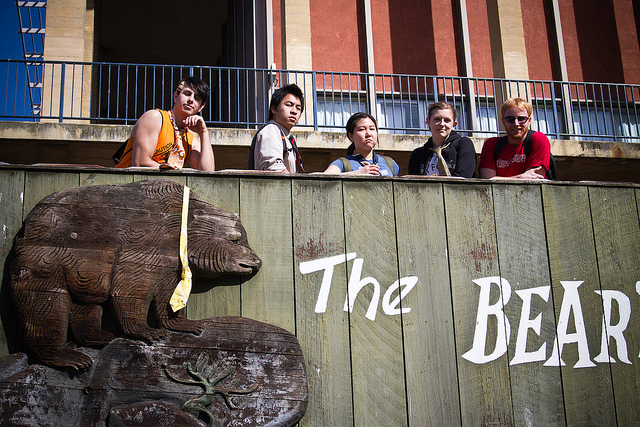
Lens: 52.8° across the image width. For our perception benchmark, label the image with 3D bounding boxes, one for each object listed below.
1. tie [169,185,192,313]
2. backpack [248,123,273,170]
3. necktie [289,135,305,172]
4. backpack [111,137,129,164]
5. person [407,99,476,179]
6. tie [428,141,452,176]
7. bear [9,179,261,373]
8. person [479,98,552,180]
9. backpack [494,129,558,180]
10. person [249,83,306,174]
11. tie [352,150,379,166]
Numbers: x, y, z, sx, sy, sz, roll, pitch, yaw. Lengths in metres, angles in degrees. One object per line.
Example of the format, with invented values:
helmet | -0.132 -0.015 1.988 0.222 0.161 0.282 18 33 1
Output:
tie | -0.957 0.249 4.543 0.127 0.865 0.270 0 1 4
backpack | -0.541 -0.562 5.766 0.223 0.465 0.309 4 3 -7
necktie | -0.207 -0.527 5.727 0.053 0.220 0.229 -24 40 -1
backpack | -1.774 -0.529 5.736 0.072 0.201 0.149 32 19 -7
person | 1.126 -0.539 6.167 0.634 1.008 0.492 -5 -15 35
tie | 1.102 -0.481 5.904 0.167 0.267 0.075 -23 -42 32
bear | -1.255 0.407 5.069 1.801 1.452 0.899 -1 -2 -10
person | 1.837 -0.621 6.068 0.596 0.860 0.484 -2 -10 36
backpack | 1.901 -0.532 5.992 0.555 0.457 0.356 1 1 17
person | -0.389 -0.752 5.633 0.469 0.812 0.750 0 1 -1
tie | 0.400 -0.477 5.774 0.176 0.097 0.135 26 20 27
